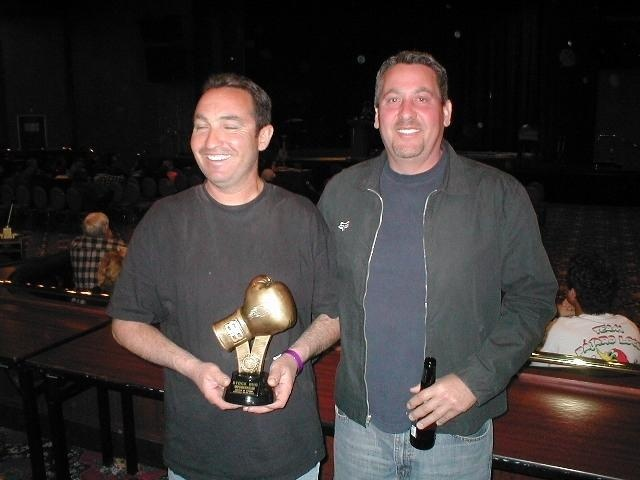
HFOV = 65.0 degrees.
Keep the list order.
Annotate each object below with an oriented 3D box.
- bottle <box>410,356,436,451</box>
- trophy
[{"bbox_3d":[0.358,0.552,1.684,0.102,0.353,0.113,-1,9,-9],"label":"bottle"},{"bbox_3d":[-0.206,0.320,1.688,0.324,0.383,0.267,3,6,-5],"label":"trophy"}]
